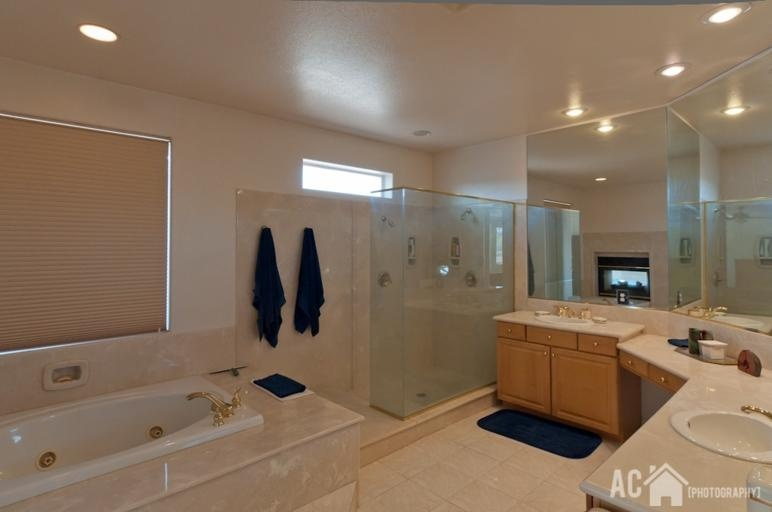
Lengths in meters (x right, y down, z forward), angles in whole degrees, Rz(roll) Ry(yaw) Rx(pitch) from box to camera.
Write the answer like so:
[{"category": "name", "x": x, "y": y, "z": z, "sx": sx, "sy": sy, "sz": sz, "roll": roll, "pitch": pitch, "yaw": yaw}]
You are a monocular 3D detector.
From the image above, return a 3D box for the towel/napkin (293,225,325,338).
[{"category": "towel/napkin", "x": -0.819, "y": 0.281, "z": 5.240, "sx": 0.357, "sy": 0.901, "sz": 0.096, "roll": -3, "pitch": 1, "yaw": -36}]

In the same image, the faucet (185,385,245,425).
[{"category": "faucet", "x": -1.320, "y": 1.140, "z": 3.838, "sx": 0.335, "sy": 0.136, "sz": 0.271, "roll": 12, "pitch": 5, "yaw": 35}]

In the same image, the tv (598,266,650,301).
[{"category": "tv", "x": 2.432, "y": 0.276, "z": 5.058, "sx": 0.292, "sy": 0.384, "sz": 0.545, "roll": -4, "pitch": 3, "yaw": -45}]

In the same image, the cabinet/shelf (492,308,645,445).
[{"category": "cabinet/shelf", "x": 1.805, "y": 1.140, "z": 5.274, "sx": 0.971, "sy": 1.517, "sz": 1.913, "roll": 1, "pitch": -2, "yaw": -45}]

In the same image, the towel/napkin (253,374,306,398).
[{"category": "towel/napkin", "x": -0.932, "y": 1.131, "z": 4.308, "sx": 0.279, "sy": 0.059, "sz": 0.205, "roll": 8, "pitch": 6, "yaw": 44}]

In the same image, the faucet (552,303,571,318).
[{"category": "faucet", "x": 1.930, "y": 0.600, "z": 5.425, "sx": 0.114, "sy": 0.148, "sz": 0.217, "roll": 3, "pitch": -5, "yaw": -35}]
